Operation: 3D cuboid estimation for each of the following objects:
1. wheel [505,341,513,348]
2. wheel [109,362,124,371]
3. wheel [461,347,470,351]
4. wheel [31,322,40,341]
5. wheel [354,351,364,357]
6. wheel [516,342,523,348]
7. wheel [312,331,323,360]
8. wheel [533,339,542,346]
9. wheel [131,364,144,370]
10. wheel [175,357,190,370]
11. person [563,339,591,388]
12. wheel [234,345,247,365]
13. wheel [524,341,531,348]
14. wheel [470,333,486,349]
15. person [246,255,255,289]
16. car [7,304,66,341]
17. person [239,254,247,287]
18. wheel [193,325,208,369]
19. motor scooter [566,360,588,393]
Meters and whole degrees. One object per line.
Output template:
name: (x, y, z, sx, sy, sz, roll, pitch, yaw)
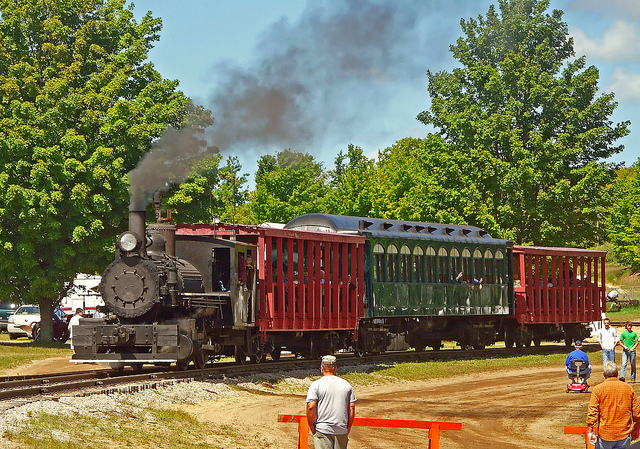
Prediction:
wheel: (9.626, 6.113, 36.145, 0.369, 0.312, 0.440, -3, -13, 7)
wheel: (-6.062, 4.238, 21.216, 0.400, 0.219, 0.869, 3, -15, -17)
wheel: (6.958, 5.945, 34.006, 0.242, 0.180, 0.140, 1, -8, -7)
wheel: (-16.523, 6.154, 41.260, 0.252, 1.002, 0.866, 7, -15, -34)
wheel: (1.589, 5.335, 29.234, 0.272, 0.265, 0.066, -1, -4, -1)
wheel: (10.089, 6.097, 35.892, 0.275, 0.284, 0.283, -4, 28, 2)
wheel: (0.062, 4.634, 27.465, 0.843, 0.889, 0.192, -14, 16, -40)
wheel: (11.555, 6.295, 37.730, 0.386, 0.312, 0.977, -6, -15, 19)
wheel: (-5.716, 4.478, 22.319, 0.269, 0.094, 0.273, 1, -3, 0)
wheel: (-4.310, 4.362, 22.242, 0.109, 0.402, 0.394, -2, -12, 9)
person: (8.631, 4.688, 23.748, 0.860, 1.614, 1.259, -1, -3, 36)
wheel: (-2.743, 4.482, 24.513, 0.210, 0.666, 0.656, -2, -17, 10)
wheel: (10.702, 6.185, 36.617, 0.250, 0.202, 0.259, -1, -2, 0)
wheel: (7.563, 5.636, 34.281, 0.523, 0.666, 1.666, -7, -15, 26)
person: (-2.328, 1.582, 23.785, 0.157, 1.128, 0.411, -9, -14, 34)
car: (-17.396, 5.986, 42.492, 2.188, 2.161, 4.490, -1, 1, -38)
person: (-2.528, 1.464, 23.154, 0.100, 0.949, 0.360, -5, -13, 20)
wheel: (-3.747, 3.874, 22.336, 0.455, 1.221, 1.650, 1, -13, -10)
motor scooter: (8.437, 4.942, 23.257, 0.642, 1.132, 1.013, 1, 0, 9)
